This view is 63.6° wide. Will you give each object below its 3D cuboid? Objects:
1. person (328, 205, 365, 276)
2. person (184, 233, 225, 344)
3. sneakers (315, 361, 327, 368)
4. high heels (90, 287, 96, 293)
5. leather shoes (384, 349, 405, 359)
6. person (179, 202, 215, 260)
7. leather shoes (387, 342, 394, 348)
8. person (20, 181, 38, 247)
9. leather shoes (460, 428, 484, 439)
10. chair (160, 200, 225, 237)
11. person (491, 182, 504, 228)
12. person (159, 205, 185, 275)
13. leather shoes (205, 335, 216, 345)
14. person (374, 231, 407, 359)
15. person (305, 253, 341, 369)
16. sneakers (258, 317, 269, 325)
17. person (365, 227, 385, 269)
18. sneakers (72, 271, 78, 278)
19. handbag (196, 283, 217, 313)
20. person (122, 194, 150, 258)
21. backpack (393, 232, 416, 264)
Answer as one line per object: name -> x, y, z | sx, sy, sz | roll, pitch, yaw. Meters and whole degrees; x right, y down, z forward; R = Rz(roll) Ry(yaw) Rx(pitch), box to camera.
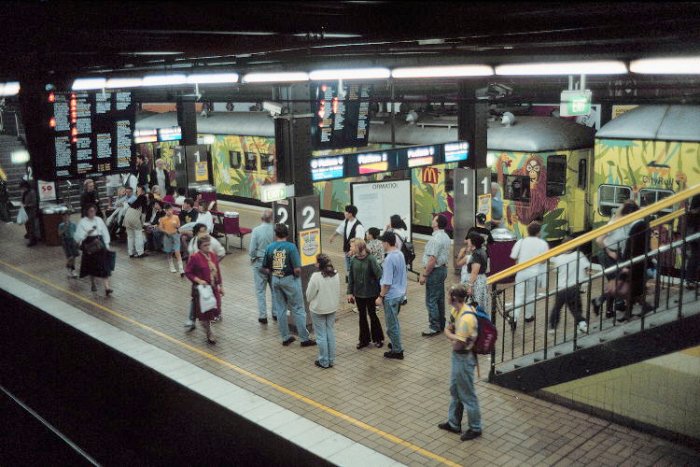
person -> 0.021, 0.277, 12.512 | 0.619, 1.885, 0.774 | -22, 29, -35
person -> -2.847, 1.047, 11.117 | 0.571, 2.133, 0.661 | -4, 11, -1
sneakers -> -0.530, 2.323, 10.159 | 0.247, 0.106, 0.085 | 17, 20, 26
high heels -> -6.301, 1.375, 13.857 | 0.126, 0.117, 0.121 | 3, -4, -33
leather shoes -> 0.816, 2.211, 10.401 | 0.375, 0.162, 0.150 | 6, 5, 12
person -> -4.097, -0.158, 14.962 | 0.981, 1.614, 0.720 | -12, 30, -42
leather shoes -> 0.767, 2.065, 10.486 | 0.125, 0.086, 0.121 | -2, 5, -30
person -> -10.150, -0.678, 17.950 | 0.482, 2.039, 0.612 | -10, 13, -29
leather shoes -> 1.774, 2.908, 8.216 | 0.304, 0.119, 0.127 | 0, -3, -1
chair -> -4.388, -0.397, 15.036 | 1.756, 1.182, 1.077 | 0, 1, 5
person -> 3.759, -0.752, 14.372 | 0.255, 1.130, 0.506 | 5, 14, 35
person -> -4.761, 0.141, 15.143 | 0.789, 1.906, 0.640 | 3, 12, 36
leather shoes -> -2.744, 2.059, 11.119 | 0.105, 0.106, 0.309 | -14, 26, -38
person -> 0.771, 1.137, 10.217 | 0.480, 2.289, 0.573 | -2, 11, 8
person -> -0.443, 1.366, 9.953 | 0.555, 2.061, 0.276 | -4, 11, -5
sneakers -> -1.821, 1.816, 11.905 | 0.106, 0.188, 0.202 | -7, 18, -27
person -> 0.449, 0.332, 11.535 | 0.313, 0.327, 0.893 | 36, 25, -33
sneakers -> -7.329, 1.067, 15.042 | 0.083, 0.095, 0.186 | 33, 0, -23
handbag -> -2.759, 1.234, 10.881 | 0.404, 0.494, 0.169 | -7, 2, -16
person -> -6.170, -0.250, 16.385 | 0.691, 1.819, 0.852 | -8, 12, -21
backpack -> 1.263, 0.161, 12.850 | 0.400, 0.355, 0.278 | 8, -24, -19
